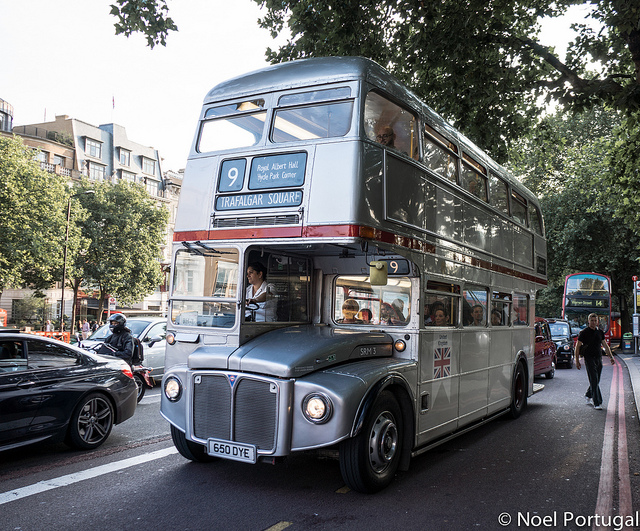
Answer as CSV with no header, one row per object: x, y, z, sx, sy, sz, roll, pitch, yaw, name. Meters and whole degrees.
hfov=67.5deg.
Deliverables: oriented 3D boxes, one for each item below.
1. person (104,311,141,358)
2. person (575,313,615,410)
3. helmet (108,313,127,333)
-3.879,1.354,9.240,0.773,0.969,0.508,9,4,34,person
6.424,2.257,11.352,0.621,2.177,1.231,-2,-6,33,person
-3.827,1.097,9.103,0.295,0.378,0.531,4,-6,-23,helmet
